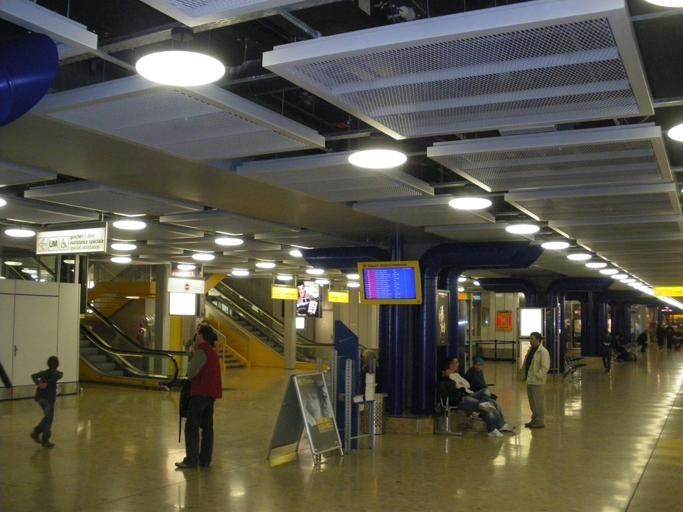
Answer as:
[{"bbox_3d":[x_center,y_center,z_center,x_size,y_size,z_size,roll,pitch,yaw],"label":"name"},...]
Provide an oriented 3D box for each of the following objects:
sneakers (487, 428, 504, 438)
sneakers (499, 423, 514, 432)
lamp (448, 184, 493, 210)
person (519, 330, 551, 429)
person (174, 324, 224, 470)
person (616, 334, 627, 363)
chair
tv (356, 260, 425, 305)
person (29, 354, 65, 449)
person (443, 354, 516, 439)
[{"bbox_3d":[2.871,3.298,10.734,0.288,0.127,0.285,2,-5,-3],"label":"sneakers"},{"bbox_3d":[3.251,3.343,11.245,0.432,0.141,0.139,2,-3,-9],"label":"sneakers"},{"bbox_3d":[1.701,-0.867,7.915,0.525,0.101,0.489,11,-20,-34],"label":"lamp"},{"bbox_3d":[3.937,2.516,11.817,0.465,1.910,0.850,1,-5,18],"label":"person"},{"bbox_3d":[-1.993,2.003,8.261,0.549,2.035,0.818,4,-5,-14],"label":"person"},{"bbox_3d":[15.557,5.158,32.189,0.626,1.339,1.614,0,-5,23],"label":"person"},{"bbox_3d":[2.503,2.839,11.111,1.303,0.689,0.724,11,10,21],"label":"chair"},{"bbox_3d":[0.845,0.508,10.549,1.358,0.769,0.112,1,-7,-31],"label":"tv"},{"bbox_3d":[-5.039,2.445,9.870,0.442,1.483,1.163,5,-6,-24],"label":"person"},{"bbox_3d":[2.596,2.709,11.144,1.232,1.250,0.617,8,5,19],"label":"person"}]
